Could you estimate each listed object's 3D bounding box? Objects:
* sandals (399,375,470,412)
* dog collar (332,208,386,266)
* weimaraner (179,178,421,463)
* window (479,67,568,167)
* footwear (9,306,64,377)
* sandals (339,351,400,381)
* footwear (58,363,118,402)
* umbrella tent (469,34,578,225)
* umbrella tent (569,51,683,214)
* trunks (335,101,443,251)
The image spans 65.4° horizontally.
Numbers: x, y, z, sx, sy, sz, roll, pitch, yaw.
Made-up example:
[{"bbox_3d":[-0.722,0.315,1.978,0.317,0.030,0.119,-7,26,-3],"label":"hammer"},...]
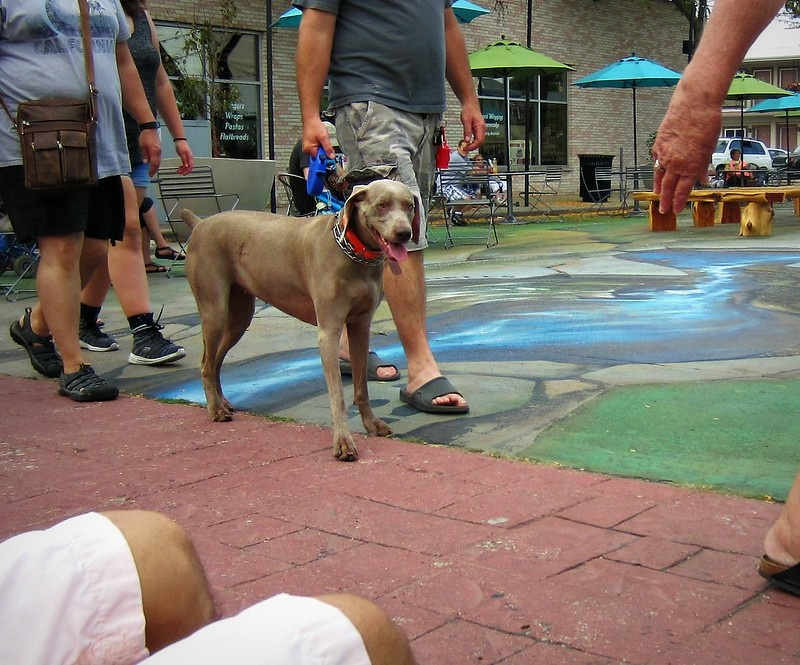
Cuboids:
[{"bbox_3d":[0.173,0.321,3.284,0.150,0.116,0.341,-6,7,-36],"label":"sandals"},{"bbox_3d":[-0.210,-0.430,2.781,0.217,0.087,0.239,7,41,-44],"label":"dog collar"},{"bbox_3d":[-0.542,-0.143,3.176,1.774,1.277,0.599,10,17,34],"label":"weimaraner"},{"bbox_3d":[4.837,-8.338,24.414,0.181,3.365,4.905,-20,28,-26],"label":"window"},{"bbox_3d":[-2.344,0.070,4.005,0.210,0.491,0.176,-42,-3,24],"label":"footwear"},{"bbox_3d":[-0.207,0.200,3.947,0.429,0.123,0.163,5,11,44],"label":"sandals"},{"bbox_3d":[-1.775,0.279,3.553,0.386,0.163,0.174,4,6,26],"label":"footwear"},{"bbox_3d":[2.894,-6.076,16.897,2.678,3.735,2.526,-5,35,8],"label":"umbrella tent"},{"bbox_3d":[6.885,-6.447,18.295,2.654,2.710,2.508,-6,13,-18],"label":"umbrella tent"},{"bbox_3d":[-0.076,-0.981,3.620,0.525,0.871,0.647,6,22,27],"label":"trunks"}]
